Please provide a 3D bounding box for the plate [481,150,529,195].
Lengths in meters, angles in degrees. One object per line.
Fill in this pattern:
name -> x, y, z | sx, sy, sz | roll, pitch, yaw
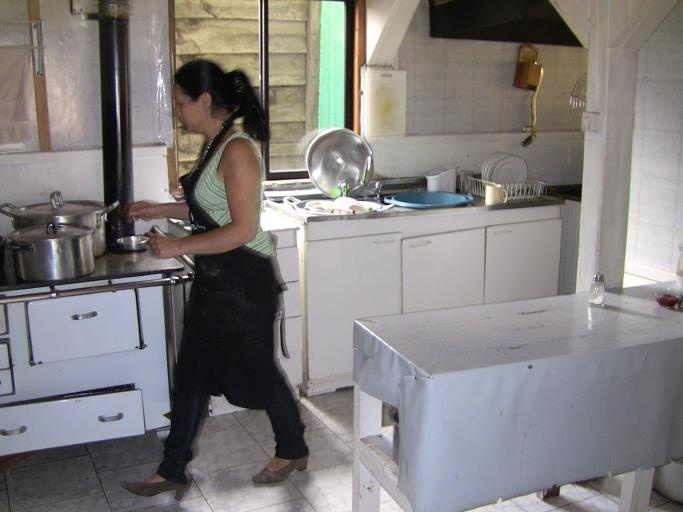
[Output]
plate -> 1.120, -0.593, 3.794 | 0.289, 0.300, 0.070 | -8, 19, -16

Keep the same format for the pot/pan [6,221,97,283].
pot/pan -> -1.227, -0.014, 2.345 | 0.309, 0.192, 0.251 | 7, 21, 15

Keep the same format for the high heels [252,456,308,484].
high heels -> -0.283, 0.962, 2.522 | 0.276, 0.115, 0.103 | -5, 4, -19

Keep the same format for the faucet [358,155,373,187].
faucet -> 0.159, -0.551, 3.563 | 0.100, 0.182, 0.076 | -18, 21, -41

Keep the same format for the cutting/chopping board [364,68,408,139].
cutting/chopping board -> 0.293, -1.035, 3.700 | 0.293, 0.457, 0.104 | -5, 16, -4

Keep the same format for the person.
person -> -0.553, 0.132, 2.342 | 0.827, 1.785, 0.630 | -5, 11, -35

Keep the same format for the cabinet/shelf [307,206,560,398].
cabinet/shelf -> 0.347, 0.182, 2.646 | 1.049, 0.615, 0.334 | -5, 10, -21
